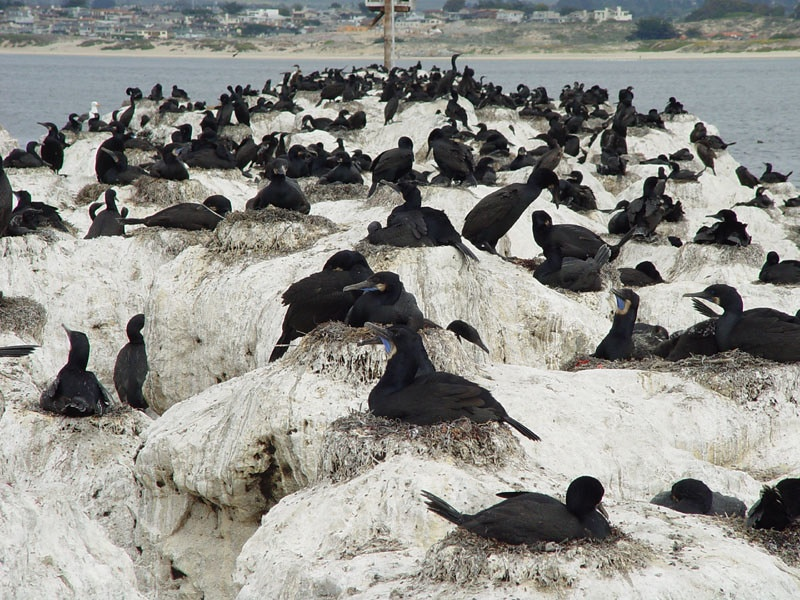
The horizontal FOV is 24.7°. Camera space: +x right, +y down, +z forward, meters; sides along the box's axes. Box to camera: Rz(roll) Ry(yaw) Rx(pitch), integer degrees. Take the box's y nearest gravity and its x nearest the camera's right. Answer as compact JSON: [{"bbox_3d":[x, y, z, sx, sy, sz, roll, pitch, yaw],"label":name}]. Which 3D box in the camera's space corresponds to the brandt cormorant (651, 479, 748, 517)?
[{"bbox_3d":[9.889,6.551,60.088,2.898,0.924,0.859,5,28,2],"label":"brandt cormorant"}]
